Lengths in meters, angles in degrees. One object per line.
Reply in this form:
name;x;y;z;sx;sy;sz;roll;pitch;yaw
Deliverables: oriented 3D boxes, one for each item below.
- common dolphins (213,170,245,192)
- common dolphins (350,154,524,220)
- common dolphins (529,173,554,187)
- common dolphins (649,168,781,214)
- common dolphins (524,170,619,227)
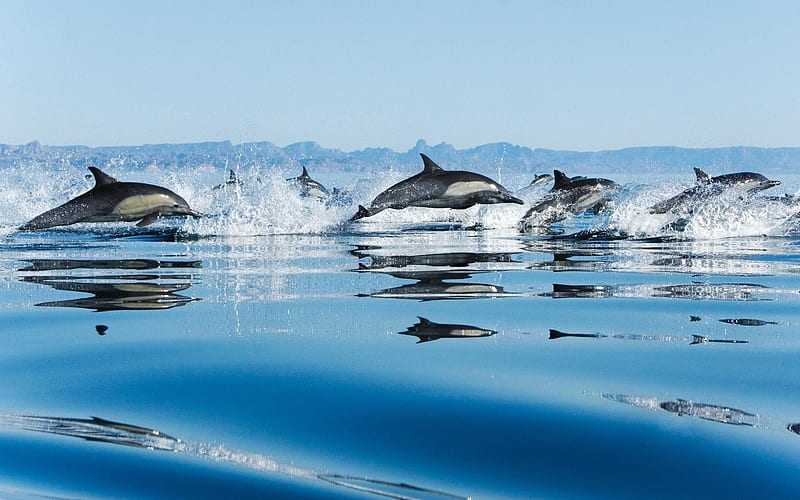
common dolphins;-6.273;-2.604;33.953;1.066;0.916;6.355;-1;1;-11
common dolphins;0.948;-1.570;21.690;3.894;1.286;1.048;-4;7;2
common dolphins;4.715;-2.309;30.964;0.626;0.605;1.422;-14;5;-2
common dolphins;7.369;-1.383;23.466;3.717;1.191;1.089;-2;31;32
common dolphins;4.586;-1.297;24.781;3.019;1.178;1.003;-16;22;16
